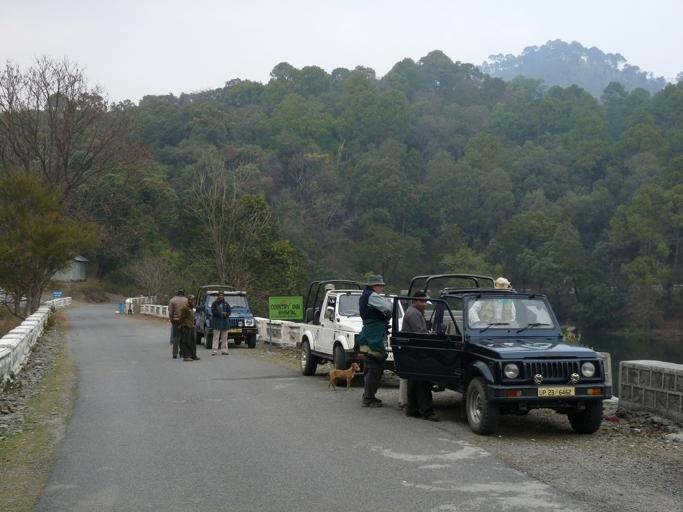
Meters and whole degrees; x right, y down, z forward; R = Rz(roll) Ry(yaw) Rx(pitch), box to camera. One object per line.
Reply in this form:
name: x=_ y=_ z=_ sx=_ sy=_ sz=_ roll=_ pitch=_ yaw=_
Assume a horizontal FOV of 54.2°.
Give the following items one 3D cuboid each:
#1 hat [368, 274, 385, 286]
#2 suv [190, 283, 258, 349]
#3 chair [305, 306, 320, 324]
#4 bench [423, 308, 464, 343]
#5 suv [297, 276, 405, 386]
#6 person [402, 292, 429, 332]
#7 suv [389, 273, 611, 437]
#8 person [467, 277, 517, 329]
hat: x=0.663 y=0.428 z=13.614 sx=0.290 sy=0.168 sz=0.308 roll=4 pitch=-9 yaw=-34
suv: x=-4.725 y=2.364 z=26.447 sx=1.807 sy=1.776 sz=2.991 roll=1 pitch=-4 yaw=-20
chair: x=-0.777 y=1.610 z=18.272 sx=0.376 sy=0.574 sz=0.524 roll=0 pitch=-3 yaw=43
bench: x=1.946 y=1.240 z=12.236 sx=0.530 sy=0.542 sz=0.459 roll=2 pitch=13 yaw=2
suv: x=0.318 y=1.873 z=17.658 sx=2.251 sy=2.860 sz=4.610 roll=2 pitch=-4 yaw=-23
person: x=1.433 y=1.094 z=12.583 sx=0.489 sy=0.887 sz=0.874 roll=6 pitch=7 yaw=3
suv: x=2.697 y=1.723 z=12.582 sx=2.419 sy=2.685 sz=4.587 roll=4 pitch=-4 yaw=-19
person: x=2.707 y=0.861 z=12.368 sx=0.749 sy=0.803 sz=1.277 roll=0 pitch=-9 yaw=1
